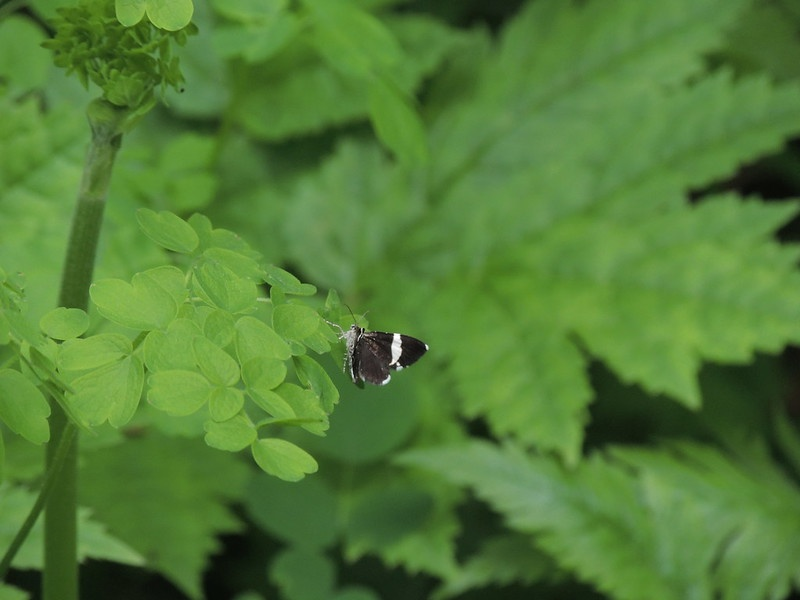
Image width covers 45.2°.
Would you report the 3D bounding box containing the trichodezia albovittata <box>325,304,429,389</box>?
[{"bbox_3d":[-0.027,0.055,1.502,0.080,0.104,0.156,-34,27,-33],"label":"trichodezia albovittata"}]
